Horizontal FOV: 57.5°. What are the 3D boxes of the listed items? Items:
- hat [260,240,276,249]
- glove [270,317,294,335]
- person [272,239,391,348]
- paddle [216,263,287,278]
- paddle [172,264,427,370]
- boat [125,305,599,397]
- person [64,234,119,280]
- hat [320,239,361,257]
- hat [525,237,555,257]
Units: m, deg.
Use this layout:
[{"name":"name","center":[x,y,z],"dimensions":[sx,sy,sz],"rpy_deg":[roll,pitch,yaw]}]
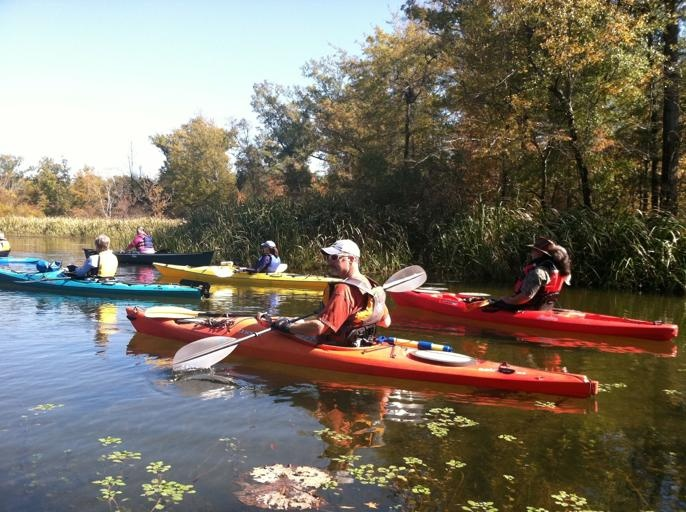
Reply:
[{"name":"hat","center":[-1.809,-0.297,15.032],"dimensions":[0.293,0.142,0.212],"rpy_deg":[15,12,23]},{"name":"glove","center":[-0.807,0.891,8.213],"dimensions":[0.278,0.107,0.192],"rpy_deg":[-12,11,11]},{"name":"person","center":[0.009,0.471,7.790],"dimensions":[0.861,1.328,0.941],"rpy_deg":[2,2,36]},{"name":"paddle","center":[-2.215,0.342,15.338],"dimensions":[1.383,0.167,0.296],"rpy_deg":[5,4,6]},{"name":"paddle","center":[-0.681,0.938,9.706],"dimensions":[3.593,0.169,0.418],"rpy_deg":[-17,45,-11]},{"name":"boat","center":[0.255,1.284,8.426],"dimensions":[4.945,0.485,0.826],"rpy_deg":[3,8,23]},{"name":"person","center":[-5.046,0.092,12.878],"dimensions":[0.736,0.726,1.360],"rpy_deg":[1,3,-40]},{"name":"hat","center":[-0.007,-0.089,7.532],"dimensions":[0.354,0.127,0.241],"rpy_deg":[4,-4,-11]},{"name":"hat","center":[3.115,-0.167,9.894],"dimensions":[0.372,0.134,0.338],"rpy_deg":[10,7,-26]}]
